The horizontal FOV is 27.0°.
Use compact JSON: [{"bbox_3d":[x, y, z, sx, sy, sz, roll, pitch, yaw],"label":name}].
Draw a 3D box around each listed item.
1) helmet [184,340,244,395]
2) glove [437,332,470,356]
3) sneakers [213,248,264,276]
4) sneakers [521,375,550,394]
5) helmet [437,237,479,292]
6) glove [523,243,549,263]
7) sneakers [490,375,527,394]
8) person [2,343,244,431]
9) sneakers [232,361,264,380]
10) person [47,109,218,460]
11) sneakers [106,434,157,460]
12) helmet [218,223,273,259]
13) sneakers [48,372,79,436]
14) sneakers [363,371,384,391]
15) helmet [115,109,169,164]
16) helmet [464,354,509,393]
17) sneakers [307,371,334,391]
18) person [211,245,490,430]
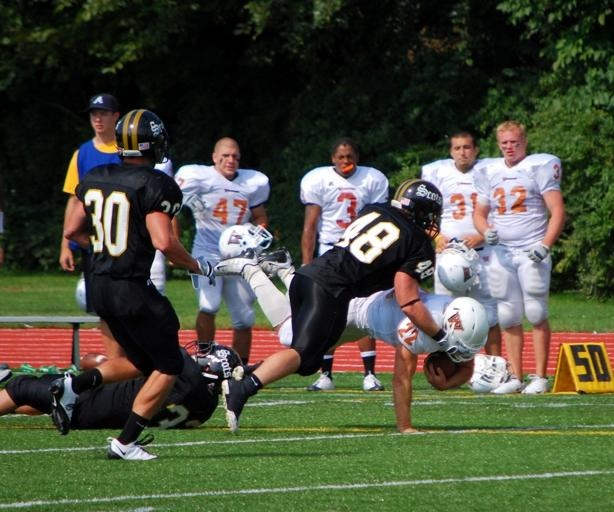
[{"bbox_3d":[-0.797,0.831,9.592,0.451,0.314,0.348,-2,-24,37],"label":"helmet"},{"bbox_3d":[1.057,0.633,9.100,0.167,0.203,0.152,-45,-9,11],"label":"glove"},{"bbox_3d":[-0.575,0.046,10.702,0.481,0.195,0.163,-14,23,6],"label":"sneakers"},{"bbox_3d":[2.024,1.142,11.198,0.292,0.132,0.111,0,0,-44],"label":"sneakers"},{"bbox_3d":[1.286,0.088,11.087,0.347,0.431,0.363,8,49,33],"label":"helmet"},{"bbox_3d":[2.052,-0.026,11.262,0.146,0.086,0.192,-34,12,-5],"label":"glove"},{"bbox_3d":[1.799,1.149,11.227,0.350,0.136,0.115,1,0,-35],"label":"sneakers"},{"bbox_3d":[-1.306,1.005,9.050,1.164,0.336,0.744,2,4,-10],"label":"person"},{"bbox_3d":[-0.454,0.888,9.538,0.262,0.096,0.193,-25,3,-7],"label":"sneakers"},{"bbox_3d":[-1.318,0.177,8.719,0.884,2.350,1.106,-1,-1,-35],"label":"person"},{"bbox_3d":[-1.160,1.269,8.433,0.408,0.170,0.134,3,-1,-6],"label":"sneakers"},{"bbox_3d":[-0.534,-0.126,11.004,0.387,0.282,0.297,-27,-6,1],"label":"helmet"},{"bbox_3d":[-1.635,0.988,8.534,0.145,0.411,0.209,18,52,27],"label":"sneakers"},{"bbox_3d":[0.623,1.155,11.623,0.197,0.148,0.122,-4,1,9],"label":"sneakers"},{"bbox_3d":[-1.142,-0.848,8.769,0.313,0.320,0.410,5,28,13],"label":"helmet"},{"bbox_3d":[1.587,1.019,11.292,0.430,0.370,0.300,-5,8,-7],"label":"helmet"},{"bbox_3d":[0.154,1.172,11.665,0.103,0.125,0.316,-1,-10,32],"label":"sneakers"},{"bbox_3d":[0.452,0.707,9.597,2.123,0.647,1.360,-20,6,2],"label":"person"}]
